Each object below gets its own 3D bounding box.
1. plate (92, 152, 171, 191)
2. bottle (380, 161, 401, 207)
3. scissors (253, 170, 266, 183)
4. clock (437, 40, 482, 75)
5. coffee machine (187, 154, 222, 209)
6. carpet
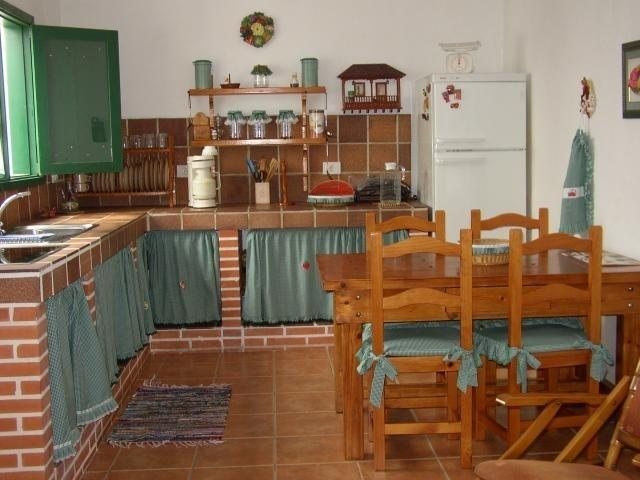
[{"bbox_3d":[-1.534,-0.588,4.856,0.584,0.374,0.240,-1,15,-28],"label":"plate"},{"bbox_3d":[0.607,-0.502,4.951,0.185,0.332,0.530,0,13,8],"label":"bottle"},{"bbox_3d":[-0.524,-0.557,4.961,0.082,0.118,0.031,4,1,-10],"label":"scissors"},{"bbox_3d":[1.148,-1.552,4.833,0.440,0.362,0.234,1,7,8],"label":"clock"},{"bbox_3d":[-0.987,-0.492,4.836,0.246,0.420,0.242,0,10,-2],"label":"coffee machine"},{"bbox_3d":[-0.940,1.126,3.712,0.717,0.032,0.730,-2,13,-1],"label":"carpet"}]
